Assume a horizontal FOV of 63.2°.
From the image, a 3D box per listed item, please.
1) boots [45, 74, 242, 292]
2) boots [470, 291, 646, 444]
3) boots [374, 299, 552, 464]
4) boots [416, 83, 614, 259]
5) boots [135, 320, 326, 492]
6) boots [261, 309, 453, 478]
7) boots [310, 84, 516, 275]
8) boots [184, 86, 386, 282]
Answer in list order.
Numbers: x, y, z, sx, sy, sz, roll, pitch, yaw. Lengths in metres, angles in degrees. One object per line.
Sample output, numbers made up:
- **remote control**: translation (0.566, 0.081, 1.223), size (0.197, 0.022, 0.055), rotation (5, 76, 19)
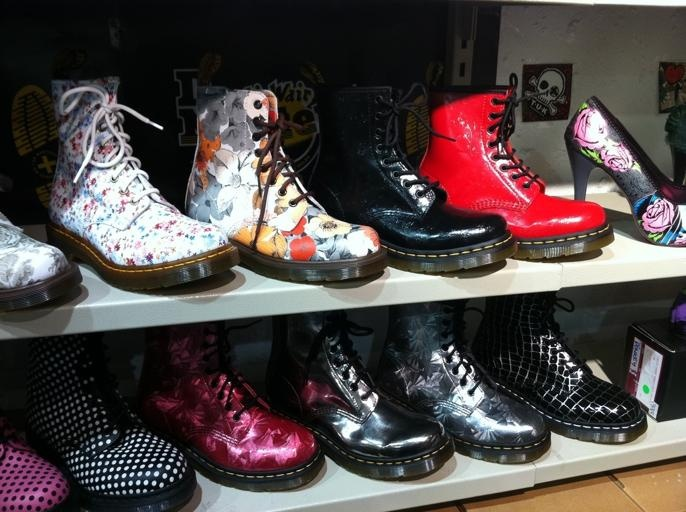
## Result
- **boots**: translation (-0.351, -0.129, 0.925), size (0.384, 0.296, 0.177), rotation (15, 19, 31)
- **boots**: translation (0.450, 0.195, 1.171), size (0.167, 0.264, 0.365), rotation (-10, 16, -36)
- **boots**: translation (0.232, 0.221, 1.099), size (0.348, 0.261, 0.170), rotation (8, 11, 31)
- **boots**: translation (0.317, -0.173, 1.059), size (0.391, 0.292, 0.191), rotation (15, 25, 31)
- **boots**: translation (-0.213, 0.234, 1.008), size (0.360, 0.264, 0.176), rotation (15, 24, 10)
- **boots**: translation (0.015, 0.227, 1.053), size (0.393, 0.255, 0.191), rotation (8, 10, 41)
- **boots**: translation (0.109, -0.152, 1.017), size (0.390, 0.291, 0.203), rotation (13, 17, 31)
- **boots**: translation (-0.117, -0.126, 0.969), size (0.425, 0.285, 0.186), rotation (15, 16, 30)
